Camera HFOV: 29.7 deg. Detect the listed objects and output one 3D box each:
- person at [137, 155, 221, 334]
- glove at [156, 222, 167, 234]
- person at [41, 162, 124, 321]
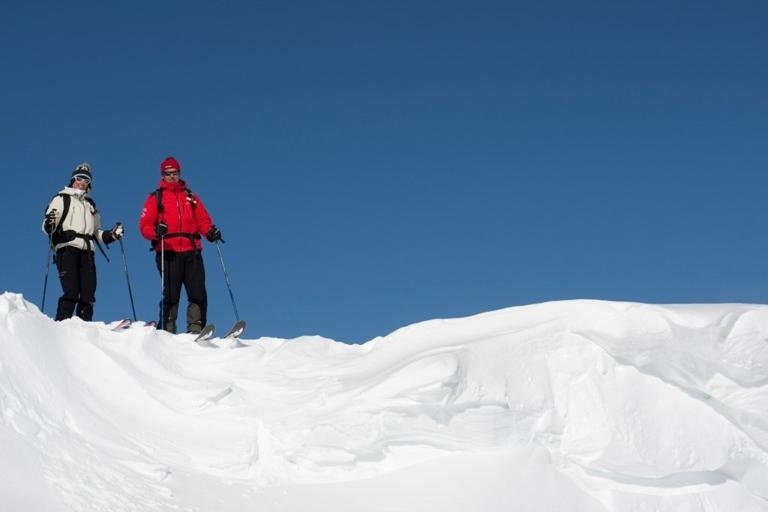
[{"bbox_3d":[-2.752,-0.144,19.389,0.982,2.342,0.595,-1,1,-7],"label":"person"},{"bbox_3d":[-2.960,-0.361,19.154,0.140,0.151,0.182,-1,0,-9],"label":"glove"},{"bbox_3d":[-4.000,-0.187,18.967,0.952,2.059,0.486,-1,1,-39],"label":"person"}]
